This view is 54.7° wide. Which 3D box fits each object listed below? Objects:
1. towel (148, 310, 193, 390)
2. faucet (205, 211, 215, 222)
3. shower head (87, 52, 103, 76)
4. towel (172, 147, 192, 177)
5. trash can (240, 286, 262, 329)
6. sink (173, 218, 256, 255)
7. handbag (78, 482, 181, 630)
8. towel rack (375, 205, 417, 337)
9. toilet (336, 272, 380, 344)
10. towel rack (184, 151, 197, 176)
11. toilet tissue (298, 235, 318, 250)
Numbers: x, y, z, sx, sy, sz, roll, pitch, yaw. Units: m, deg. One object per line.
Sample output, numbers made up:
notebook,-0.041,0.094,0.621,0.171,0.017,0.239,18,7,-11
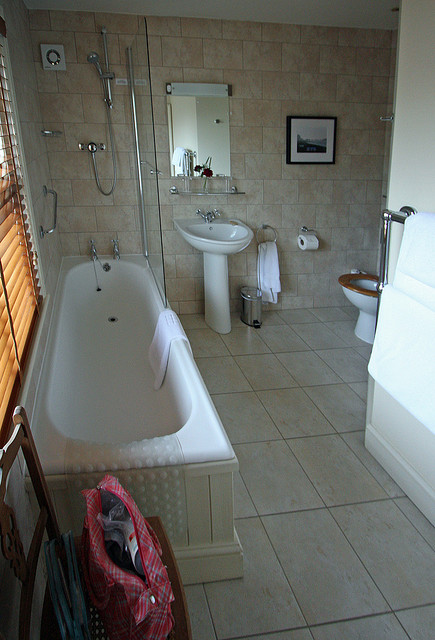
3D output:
towel,-0.266,0.131,2.399,0.173,0.286,0.420,-3,26,-13
faucet,-0.063,-0.916,3.685,0.054,0.099,0.090,25,37,38
shower head,-0.933,-1.956,3.204,0.106,0.150,0.092,-5,15,-20
towel,-0.302,-1.359,3.572,0.122,0.201,0.063,18,22,23
trash can,0.312,-0.094,3.854,0.131,0.277,0.218,0,7,-10
sink,-0.057,-0.694,3.528,0.629,0.284,0.626,-2,16,-7
handbag,-0.164,0.454,0.794,0.167,0.222,0.283,-4,16,-15
towel rack,0.649,-0.184,1.622,0.097,0.460,0.138,2,20,3
toilet,1.143,-0.099,3.432,0.343,0.375,0.464,-4,29,-2
towel rack,-0.238,-1.350,3.585,0.120,0.282,0.091,2,36,-1
toilet tissue,0.819,-0.727,3.829,0.140,0.154,0.131,0,32,-13
